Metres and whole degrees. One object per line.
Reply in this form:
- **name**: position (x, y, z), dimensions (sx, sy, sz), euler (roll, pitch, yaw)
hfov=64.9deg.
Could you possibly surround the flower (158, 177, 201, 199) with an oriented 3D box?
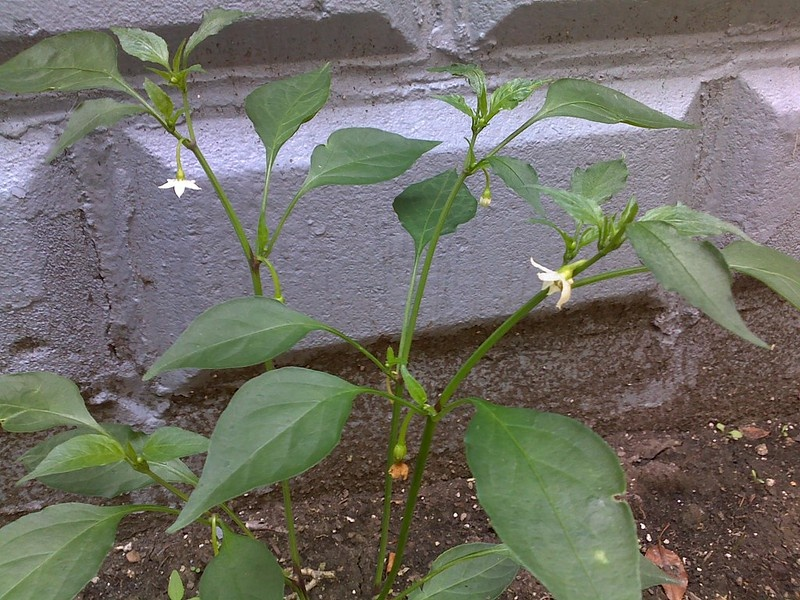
- **flower**: position (-0.401, -0.203, 1.132), dimensions (0.080, 0.023, 0.071), euler (-14, 30, -30)
